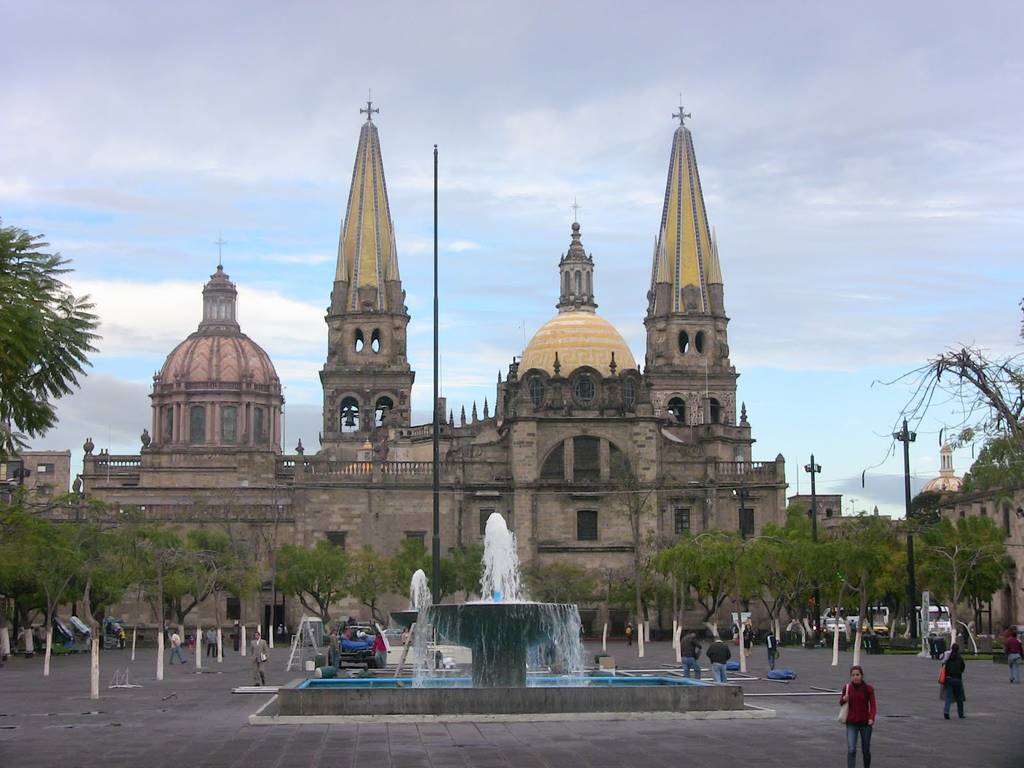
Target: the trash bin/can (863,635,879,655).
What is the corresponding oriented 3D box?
[{"bbox_3d":[13.913,9.995,74.113,0.501,0.673,1.258,-1,-9,2],"label":"trash bin/can"}]
